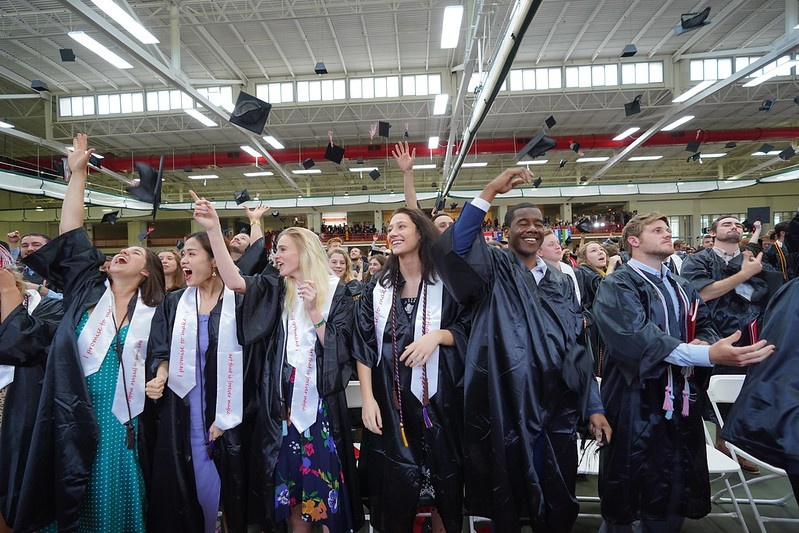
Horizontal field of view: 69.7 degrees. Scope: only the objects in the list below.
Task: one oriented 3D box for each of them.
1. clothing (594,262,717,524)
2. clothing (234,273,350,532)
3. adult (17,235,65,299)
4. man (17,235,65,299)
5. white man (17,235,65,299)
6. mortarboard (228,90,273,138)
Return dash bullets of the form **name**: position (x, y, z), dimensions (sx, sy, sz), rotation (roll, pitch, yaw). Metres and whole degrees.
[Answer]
- **clothing**: position (2.517, 1.128, 5.533), dimensions (1.102, 2.330, 1.077), rotation (0, -1, -19)
- **clothing**: position (-0.926, 1.239, 5.341), dimensions (1.102, 2.323, 0.350), rotation (1, -3, -4)
- **adult**: position (-3.678, 0.003, 5.888), dimensions (0.529, 0.699, 0.282), rotation (0, -6, -6)
- **man**: position (-3.678, 0.003, 5.888), dimensions (0.529, 0.699, 0.282), rotation (0, -6, -6)
- **white man**: position (-3.678, 0.003, 5.888), dimensions (0.529, 0.699, 0.282), rotation (0, -6, -6)
- **mortarboard**: position (-2.336, -2.440, 8.970), dimensions (0.529, 0.680, 0.539), rotation (3, -4, -28)
